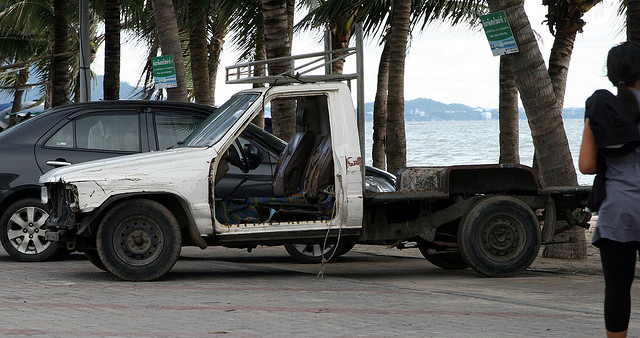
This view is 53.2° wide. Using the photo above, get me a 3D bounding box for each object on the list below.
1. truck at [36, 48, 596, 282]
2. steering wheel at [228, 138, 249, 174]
[{"bbox_3d":[-0.131,0.245,12.407,10.113,3.279,4.370,1,-2,-9],"label":"truck"},{"bbox_3d":[-1.539,-0.222,11.733,0.206,0.527,0.566,-17,28,-21],"label":"steering wheel"}]
